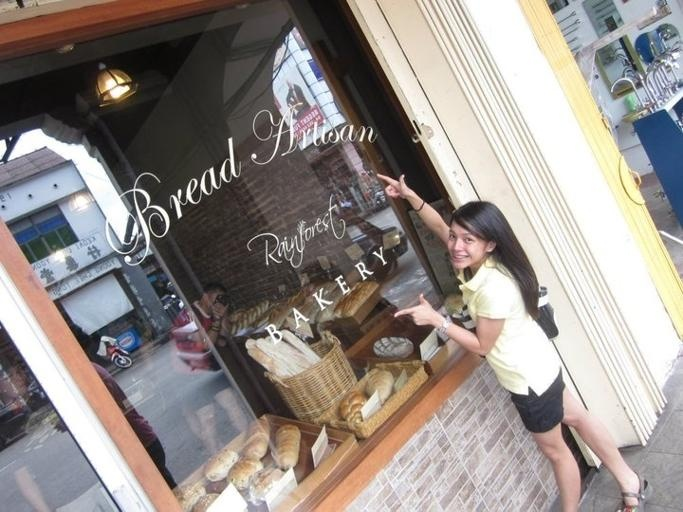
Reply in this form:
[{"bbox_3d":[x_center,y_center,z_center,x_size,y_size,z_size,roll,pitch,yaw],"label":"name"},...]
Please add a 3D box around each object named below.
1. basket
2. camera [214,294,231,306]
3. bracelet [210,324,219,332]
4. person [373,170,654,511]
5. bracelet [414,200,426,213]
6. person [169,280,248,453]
[{"bbox_3d":[-0.129,0.597,2.318,0.444,0.311,0.383,-34,15,29],"label":"basket"},{"bbox_3d":[-0.519,0.193,1.932,0.044,0.049,0.046,0,1,-6],"label":"camera"},{"bbox_3d":[-0.542,0.306,1.898,0.023,0.012,0.031,3,-46,-21],"label":"bracelet"},{"bbox_3d":[0.922,0.586,2.254,0.643,1.268,0.537,-27,9,4],"label":"person"},{"bbox_3d":[0.417,-0.259,2.366,0.057,0.013,0.057,-67,17,-7],"label":"bracelet"},{"bbox_3d":[-0.591,0.521,1.921,0.217,0.856,0.213,-6,16,-28],"label":"person"}]
